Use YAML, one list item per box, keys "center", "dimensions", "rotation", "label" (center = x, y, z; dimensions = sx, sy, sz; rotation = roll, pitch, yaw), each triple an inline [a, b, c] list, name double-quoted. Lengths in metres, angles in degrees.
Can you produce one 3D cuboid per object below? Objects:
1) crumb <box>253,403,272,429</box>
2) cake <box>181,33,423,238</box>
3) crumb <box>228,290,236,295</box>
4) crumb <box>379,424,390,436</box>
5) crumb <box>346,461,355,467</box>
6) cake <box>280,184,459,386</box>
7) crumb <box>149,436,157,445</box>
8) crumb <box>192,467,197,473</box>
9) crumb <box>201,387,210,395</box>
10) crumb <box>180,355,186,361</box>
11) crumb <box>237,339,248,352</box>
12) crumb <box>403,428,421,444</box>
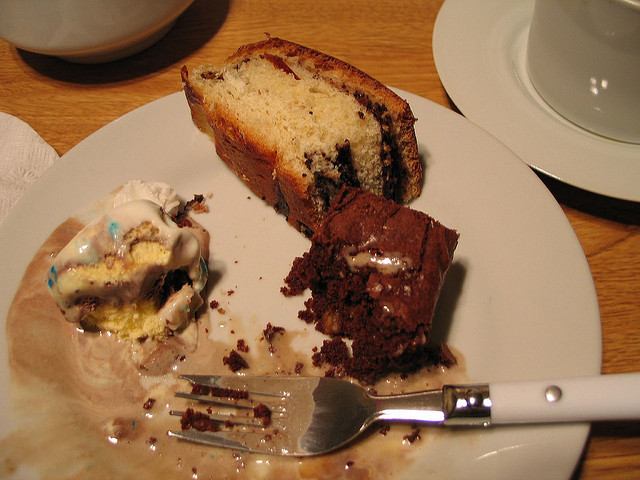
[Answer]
- center: [-0.156, 0.533, 2.219]
  dimensions: [0.045, 0.010, 0.065]
  rotation: [-2, 82, -2]
  label: "crumb"
- center: [-0.040, -0.408, 2.611]
  dimensions: [0.636, 0.757, 0.711]
  rotation: [-17, 39, -11]
  label: "cake"
- center: [-0.277, 0.174, 2.424]
  dimensions: [0.011, 0.003, 0.014]
  rotation: [3, 45, 5]
  label: "crumb"
- center: [0.200, 0.573, 2.203]
  dimensions: [0.022, 0.009, 0.027]
  rotation: [7, 50, 16]
  label: "crumb"
- center: [0.099, 0.666, 2.169]
  dimensions: [0.013, 0.005, 0.014]
  rotation: [9, 93, -3]
  label: "crumb"
- center: [0.185, 0.145, 2.309]
  dimensions: [0.480, 0.215, 0.620]
  rotation: [0, 80, -3]
  label: "cake"
- center: [-0.474, 0.608, 2.207]
  dimensions: [0.015, 0.004, 0.019]
  rotation: [-4, 62, 14]
  label: "crumb"
- center: [-0.346, 0.687, 2.173]
  dimensions: [0.013, 0.003, 0.014]
  rotation: [1, 80, -3]
  label: "crumb"
- center: [-0.334, 0.470, 2.259]
  dimensions: [0.017, 0.005, 0.021]
  rotation: [-3, 59, 8]
  label: "crumb"
- center: [-0.408, 0.378, 2.332]
  dimensions: [0.013, 0.004, 0.016]
  rotation: [0, 49, -11]
  label: "crumb"
- center: [-0.227, 0.341, 2.343]
  dimensions: [0.026, 0.008, 0.032]
  rotation: [5, 47, -21]
  label: "crumb"
- center: [0.280, 0.591, 2.192]
  dimensions: [0.041, 0.012, 0.034]
  rotation: [-4, 72, -2]
  label: "crumb"
